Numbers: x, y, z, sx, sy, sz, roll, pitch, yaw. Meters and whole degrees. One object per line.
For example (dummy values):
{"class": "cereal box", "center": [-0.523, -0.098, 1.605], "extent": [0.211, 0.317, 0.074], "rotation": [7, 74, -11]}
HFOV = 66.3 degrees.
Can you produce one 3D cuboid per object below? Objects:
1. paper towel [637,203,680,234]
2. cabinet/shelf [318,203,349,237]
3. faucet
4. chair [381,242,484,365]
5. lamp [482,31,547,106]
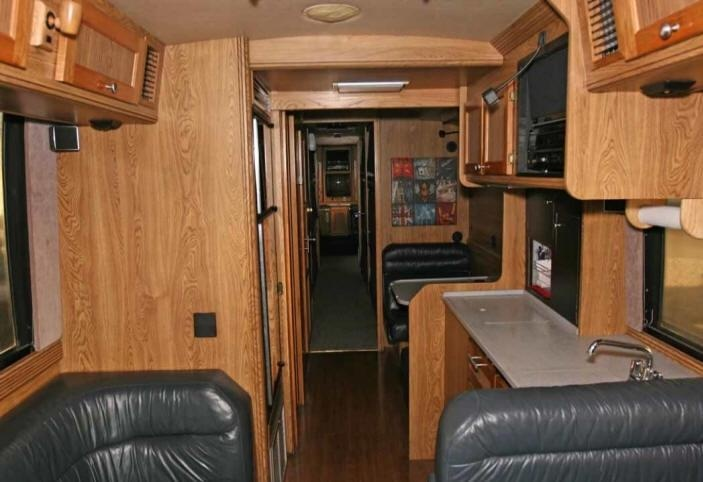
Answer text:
{"class": "paper towel", "center": [1.458, -0.102, 2.544], "extent": [0.093, 0.119, 0.166], "rotation": [3, 5, -19]}
{"class": "cabinet/shelf", "center": [-0.360, -0.437, 11.670], "extent": [0.895, 0.858, 0.575], "rotation": [0, 4, -2]}
{"class": "faucet", "center": [1.327, 0.537, 2.677], "extent": [0.357, 0.222, 0.230], "rotation": [1, 3, 10]}
{"class": "chair", "center": [0.865, 0.579, 5.824], "extent": [1.072, 1.076, 1.051], "rotation": [0, 0, -2]}
{"class": "lamp", "center": [0.822, -0.911, 2.923], "extent": [0.262, 0.355, 0.547], "rotation": [-3, 13, -2]}
